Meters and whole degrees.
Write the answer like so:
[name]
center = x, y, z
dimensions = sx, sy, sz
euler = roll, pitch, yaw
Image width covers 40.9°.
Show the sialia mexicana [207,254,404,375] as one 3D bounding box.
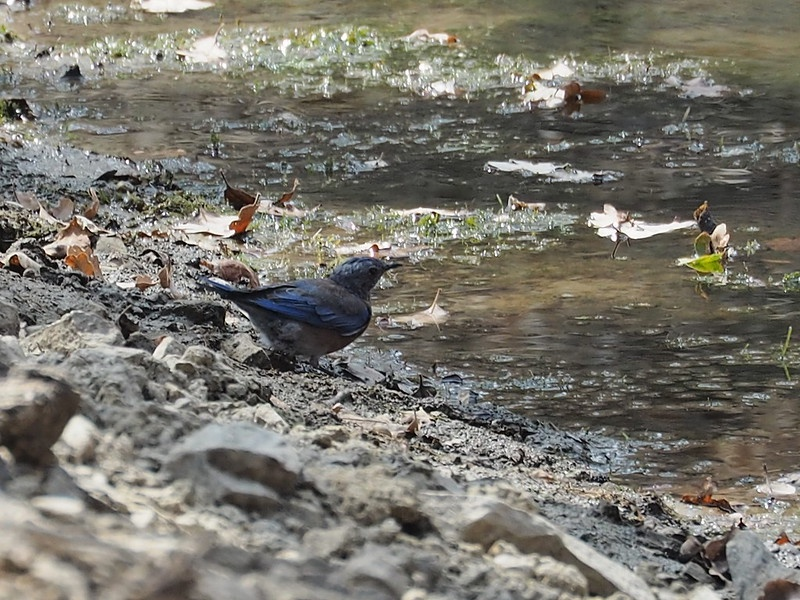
[sialia mexicana]
center = -0.650, 0.060, 6.314
dimensions = 1.285, 0.624, 0.488
euler = 5, 2, -42
